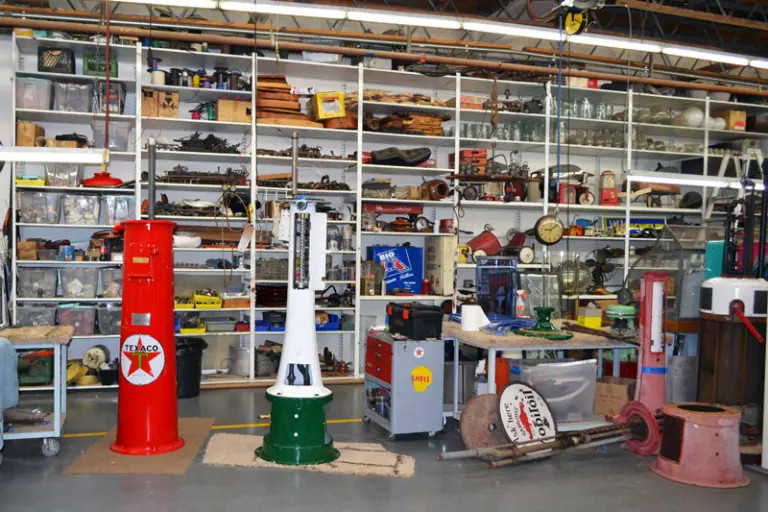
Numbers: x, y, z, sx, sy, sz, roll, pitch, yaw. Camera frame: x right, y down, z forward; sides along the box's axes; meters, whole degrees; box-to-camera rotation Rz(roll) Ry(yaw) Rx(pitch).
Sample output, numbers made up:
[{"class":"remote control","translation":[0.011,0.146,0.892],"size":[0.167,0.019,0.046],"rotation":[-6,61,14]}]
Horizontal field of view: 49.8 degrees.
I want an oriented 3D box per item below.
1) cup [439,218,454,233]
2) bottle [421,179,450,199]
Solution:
[{"class":"cup","translation":[0.870,-0.417,11.711],"size":[0.163,0.214,0.296],"rotation":[1,1,6]},{"class":"bottle","translation":[0.704,-0.963,11.648],"size":[0.300,0.293,0.475],"rotation":[-6,13,-24]}]
